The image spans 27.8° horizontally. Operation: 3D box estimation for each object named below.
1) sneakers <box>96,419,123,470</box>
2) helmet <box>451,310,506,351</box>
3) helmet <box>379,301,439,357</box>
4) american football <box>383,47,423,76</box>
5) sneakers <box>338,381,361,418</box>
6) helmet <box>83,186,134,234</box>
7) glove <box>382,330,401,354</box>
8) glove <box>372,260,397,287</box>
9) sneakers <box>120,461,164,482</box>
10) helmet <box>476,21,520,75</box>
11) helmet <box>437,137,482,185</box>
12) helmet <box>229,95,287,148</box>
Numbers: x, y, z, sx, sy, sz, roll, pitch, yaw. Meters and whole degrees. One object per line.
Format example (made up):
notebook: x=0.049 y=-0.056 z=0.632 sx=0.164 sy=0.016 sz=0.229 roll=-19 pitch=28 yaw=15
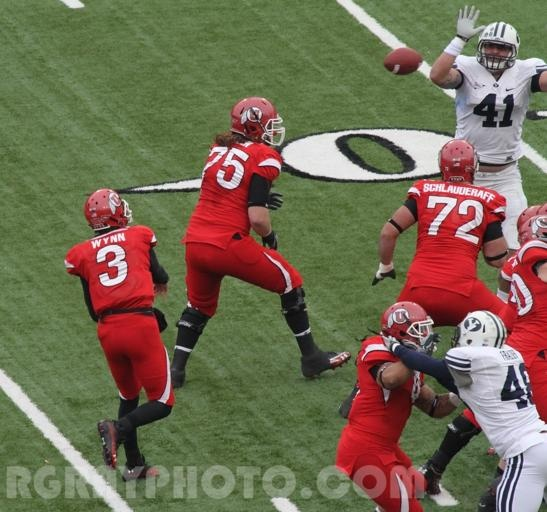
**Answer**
sneakers: x=-1.061 y=1.225 z=7.256 sx=0.188 sy=0.309 sz=0.116 roll=-16 pitch=-4 yaw=-5
helmet: x=1.267 y=0.452 z=6.811 sx=0.288 sy=0.206 sz=0.211 roll=8 pitch=-1 yaw=16
helmet: x=0.833 y=0.433 z=6.825 sx=0.401 sy=0.265 sz=0.277 roll=14 pitch=8 yaw=5
american football: x=1.247 y=-1.876 z=10.632 sx=0.387 sy=0.192 sz=0.232 roll=-3 pitch=4 yaw=-1
sneakers: x=0.544 y=0.944 z=7.266 sx=0.088 sy=0.222 sz=0.176 roll=36 pitch=-16 yaw=-11
helmet: x=-1.114 y=-0.326 z=7.680 sx=0.270 sy=0.250 sz=0.368 roll=12 pitch=27 yaw=41
glove: x=0.730 y=0.529 z=6.864 sx=0.117 sy=0.047 sz=0.108 roll=32 pitch=3 yaw=-18
glove: x=0.864 y=0.133 z=8.546 sx=0.108 sy=0.115 sz=0.300 roll=6 pitch=-13 yaw=-11
sneakers: x=-0.898 y=1.482 z=7.654 sx=0.304 sy=0.106 sz=0.097 roll=-2 pitch=12 yaw=-10
helmet: x=1.807 y=-1.676 z=8.879 sx=0.348 sy=0.330 sz=0.420 roll=8 pitch=29 yaw=16
helmet: x=1.323 y=-0.661 z=7.899 sx=0.271 sy=0.241 sz=0.324 roll=3 pitch=24 yaw=12
helmet: x=-0.131 y=-1.048 z=8.590 sx=0.542 sy=0.333 sz=0.369 roll=6 pitch=17 yaw=-6
